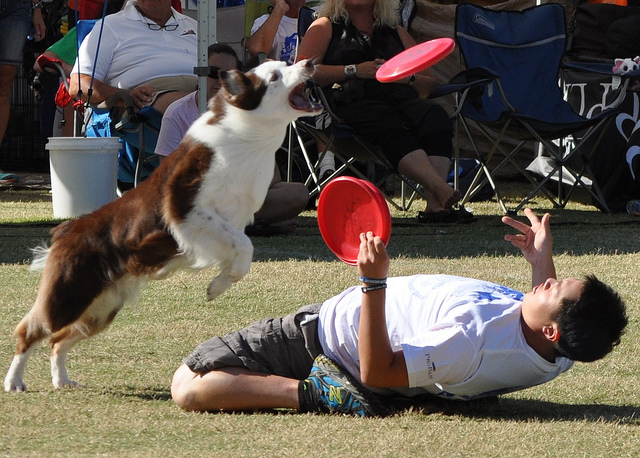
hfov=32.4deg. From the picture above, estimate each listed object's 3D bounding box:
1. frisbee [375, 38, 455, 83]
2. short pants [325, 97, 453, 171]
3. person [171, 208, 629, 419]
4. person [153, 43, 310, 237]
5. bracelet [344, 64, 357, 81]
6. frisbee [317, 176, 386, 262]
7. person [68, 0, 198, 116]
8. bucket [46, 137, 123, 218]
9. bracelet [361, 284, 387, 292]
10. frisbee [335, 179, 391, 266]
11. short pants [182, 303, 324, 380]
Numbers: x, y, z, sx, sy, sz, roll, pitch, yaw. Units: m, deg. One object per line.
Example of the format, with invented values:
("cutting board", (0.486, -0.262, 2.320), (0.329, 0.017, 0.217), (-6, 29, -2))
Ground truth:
("frisbee", (0.666, -1.154, 7.533), (0.497, 0.302, 0.633), (2, 12, -9))
("short pants", (0.607, -0.809, 8.673), (0.883, 0.248, 0.700), (6, 6, -37))
("person", (0.408, 0.429, 5.351), (1.717, 0.616, 1.100), (5, 4, 28))
("person", (-0.571, -0.632, 8.016), (1.204, 1.412, 0.690), (0, 14, -18))
("bracelet", (0.238, -1.200, 8.423), (0.086, 0.104, 0.121), (4, 9, -6))
("frisbee", (0.203, -0.093, 6.052), (0.446, 0.426, 0.084), (10, 30, 36))
("person", (-1.482, -1.340, 8.836), (1.191, 0.761, 0.607), (-4, -5, -36))
("bucket", (-1.829, -0.377, 8.670), (0.663, 0.602, 0.618), (-2, -5, 0))
("bracelet", (0.260, 0.281, 5.294), (0.114, 0.049, 0.047), (6, 13, 8))
("frisbee", (0.316, -0.035, 5.801), (0.432, 0.384, 0.089), (-5, 15, 41))
("short pants", (-0.276, 0.585, 5.650), (0.470, 0.218, 0.589), (-29, -28, 23))
